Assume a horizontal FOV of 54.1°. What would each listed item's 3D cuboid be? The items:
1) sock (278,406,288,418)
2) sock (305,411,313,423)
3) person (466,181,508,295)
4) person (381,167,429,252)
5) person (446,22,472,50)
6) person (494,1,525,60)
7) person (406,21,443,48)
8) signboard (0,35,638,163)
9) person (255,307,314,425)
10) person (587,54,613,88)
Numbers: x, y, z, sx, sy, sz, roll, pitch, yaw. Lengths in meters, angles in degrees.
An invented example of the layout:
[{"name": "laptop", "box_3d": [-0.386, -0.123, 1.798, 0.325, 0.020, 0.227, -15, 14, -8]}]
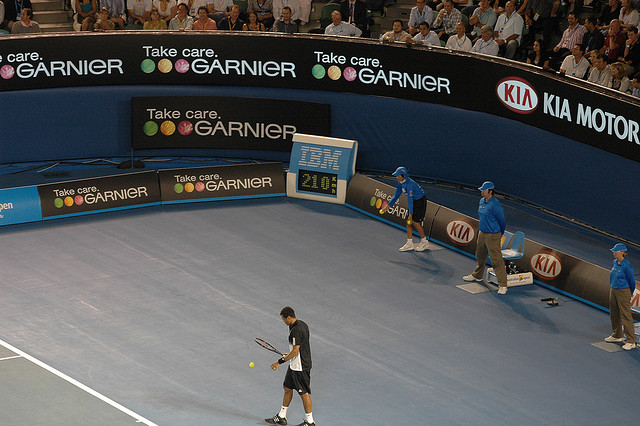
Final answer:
[{"name": "sock", "box_3d": [-0.625, 3.358, 10.665, 0.112, 0.293, 0.195, 4, 22, 2]}, {"name": "sock", "box_3d": [-0.171, 3.424, 10.576, 0.114, 0.255, 0.237, 4, 21, 0]}, {"name": "person", "box_3d": [4.083, 0.592, 14.717, 1.112, 2.491, 0.508, 23, 29, 39]}, {"name": "person", "box_3d": [2.417, -0.151, 16.529, 1.134, 2.127, 1.254, -16, 29, -40]}, {"name": "person", "box_3d": [4.383, -5.435, 19.276, 0.474, 0.816, 1.033, -24, 35, -36]}, {"name": "person", "box_3d": [5.971, -5.776, 19.683, 0.844, 1.661, 1.376, 9, 22, 12]}, {"name": "person", "box_3d": [3.271, -5.580, 19.820, 0.913, 0.777, 1.280, 0, 0, 37]}, {"name": "signboard", "box_3d": [-0.474, -4.063, 18.734, 17.211, 2.037, 2.800, 7, 21, 11]}, {"name": "person", "box_3d": [-0.401, 2.593, 10.464, 0.822, 2.117, 0.673, 7, 23, 9]}, {"name": "person", "box_3d": [7.598, -3.784, 16.974, 0.794, 0.877, 0.706, 4, 17, 16]}]
